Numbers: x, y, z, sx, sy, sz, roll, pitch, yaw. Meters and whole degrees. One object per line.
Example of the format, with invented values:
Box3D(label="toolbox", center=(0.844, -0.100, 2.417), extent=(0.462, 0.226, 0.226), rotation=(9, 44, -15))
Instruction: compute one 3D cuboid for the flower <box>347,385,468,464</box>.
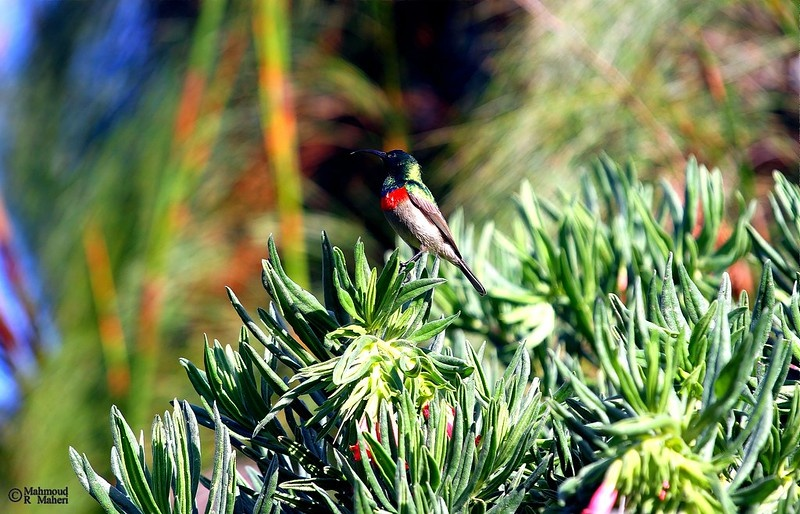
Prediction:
Box3D(label="flower", center=(-0.007, 0.331, 1.943), extent=(0.134, 0.158, 0.045), rotation=(-7, 2, 2))

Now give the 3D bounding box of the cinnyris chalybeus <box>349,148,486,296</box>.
Box3D(label="cinnyris chalybeus", center=(0.065, -0.112, 2.593), extent=(0.390, 0.147, 0.331), rotation=(17, 65, -16))
